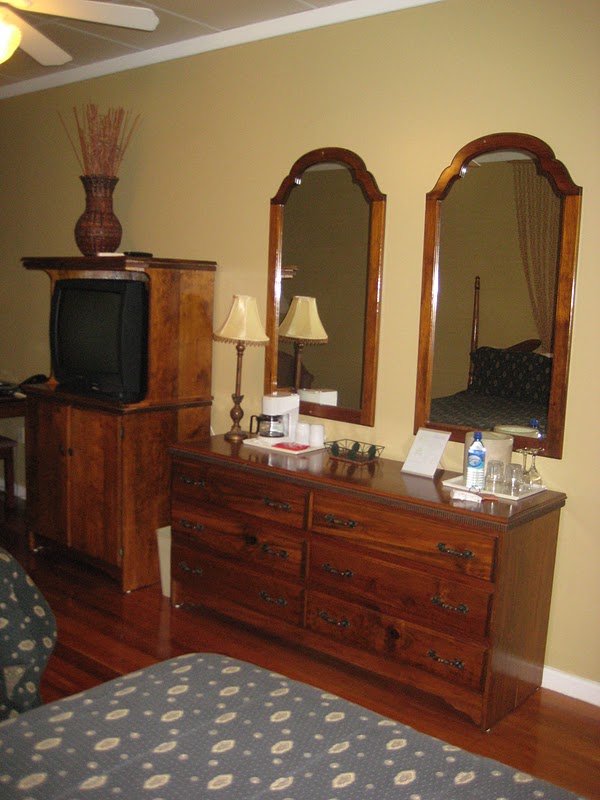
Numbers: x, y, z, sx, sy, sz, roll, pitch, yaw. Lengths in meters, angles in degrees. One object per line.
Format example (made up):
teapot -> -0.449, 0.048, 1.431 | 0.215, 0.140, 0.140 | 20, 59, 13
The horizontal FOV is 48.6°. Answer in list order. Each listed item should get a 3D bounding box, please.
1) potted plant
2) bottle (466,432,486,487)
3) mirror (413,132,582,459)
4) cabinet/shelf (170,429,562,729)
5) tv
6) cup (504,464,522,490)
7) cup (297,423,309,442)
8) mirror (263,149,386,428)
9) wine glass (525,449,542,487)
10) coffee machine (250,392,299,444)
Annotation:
potted plant -> -1.124, -1.296, 3.805 | 0.338, 0.846, 0.874 | 4, -2, -19
bottle -> 0.617, 0.205, 2.315 | 0.069, 0.191, 0.073 | 3, -1, 0
mirror -> 0.731, -0.392, 2.546 | 0.689, 1.188, 0.185 | 2, -2, 43
cabinet/shelf -> 0.168, 0.630, 2.763 | 1.592, 0.742, 0.530 | 7, 8, 36
tv -> -1.009, -0.302, 3.388 | 0.629, 0.559, 0.364 | 10, 9, 40
cup -> 0.754, 0.268, 2.337 | 0.056, 0.089, 0.173 | 2, -2, 18
cup -> 0.016, 0.137, 2.950 | 0.073, 0.074, 0.071 | 2, 9, 0
mirror -> 0.113, -0.514, 3.067 | 0.687, 0.897, 0.181 | 2, -2, 42
wine glass -> 0.852, 0.241, 2.416 | 0.059, 0.130, 0.202 | 3, -2, 19
coffee machine -> -0.094, 0.077, 3.025 | 0.248, 0.232, 0.163 | 0, 7, -25
